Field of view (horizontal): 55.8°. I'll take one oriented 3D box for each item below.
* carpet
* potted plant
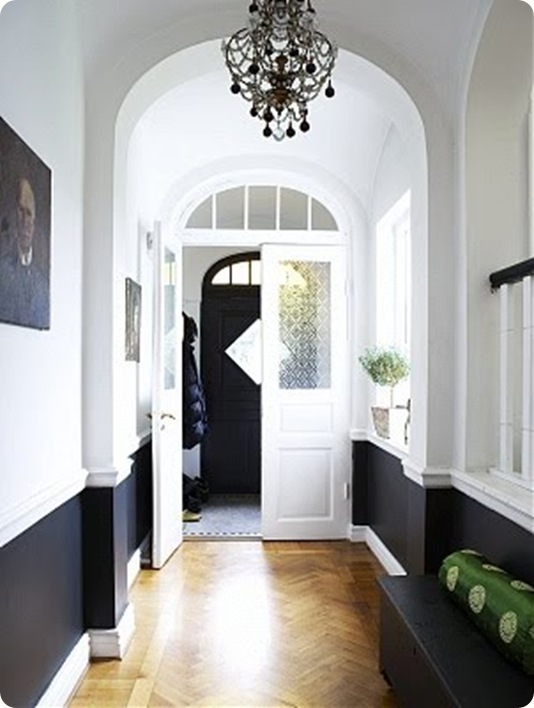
[{"bbox_3d":[-0.383,1.423,4.453,0.631,0.036,1.308,1,-3,-2],"label":"carpet"},{"bbox_3d":[0.787,0.247,3.407,0.306,0.627,0.565,0,-2,12],"label":"potted plant"}]
